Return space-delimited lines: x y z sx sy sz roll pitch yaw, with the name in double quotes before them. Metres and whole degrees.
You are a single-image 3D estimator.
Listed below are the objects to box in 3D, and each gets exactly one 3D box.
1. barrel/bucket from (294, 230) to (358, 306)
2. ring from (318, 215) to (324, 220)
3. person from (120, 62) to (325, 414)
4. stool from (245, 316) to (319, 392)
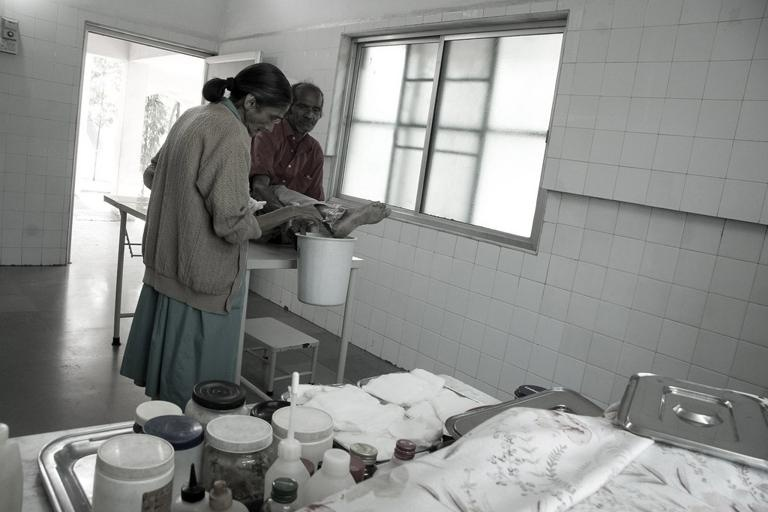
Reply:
"barrel/bucket" -0.340 0.071 2.602 0.350 0.352 0.351 6 1 0
"ring" -0.327 -0.194 2.501 0.019 0.026 0.008 -36 -10 -14
"person" -0.792 -0.111 2.457 0.889 1.608 0.784 20 20 27
"stool" -0.805 0.687 3.430 0.658 0.317 0.392 11 7 43
